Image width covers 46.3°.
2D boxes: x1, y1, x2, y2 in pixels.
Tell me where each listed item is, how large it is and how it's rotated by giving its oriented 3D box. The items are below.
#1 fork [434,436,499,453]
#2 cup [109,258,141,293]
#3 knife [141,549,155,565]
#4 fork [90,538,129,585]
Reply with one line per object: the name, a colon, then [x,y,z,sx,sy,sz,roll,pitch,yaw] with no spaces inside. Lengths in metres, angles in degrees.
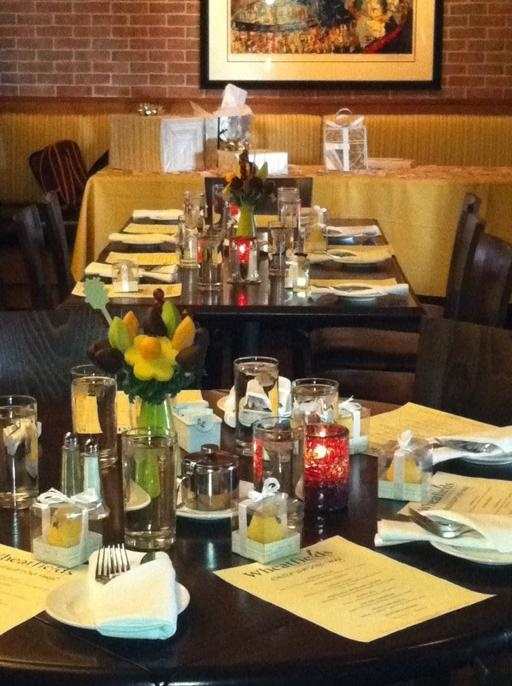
fork: [0.361,0.180,1.035,0.102,0.036,0.027,4,-14,1]
cup: [-0.457,-0.233,2.091,0.068,0.091,0.118,0,13,-4]
knife: [-0.112,0.221,0.621,0.013,0.015,0.016,4,-5,-17]
fork: [-0.147,0.213,0.591,0.016,0.007,0.059,2,12,-4]
